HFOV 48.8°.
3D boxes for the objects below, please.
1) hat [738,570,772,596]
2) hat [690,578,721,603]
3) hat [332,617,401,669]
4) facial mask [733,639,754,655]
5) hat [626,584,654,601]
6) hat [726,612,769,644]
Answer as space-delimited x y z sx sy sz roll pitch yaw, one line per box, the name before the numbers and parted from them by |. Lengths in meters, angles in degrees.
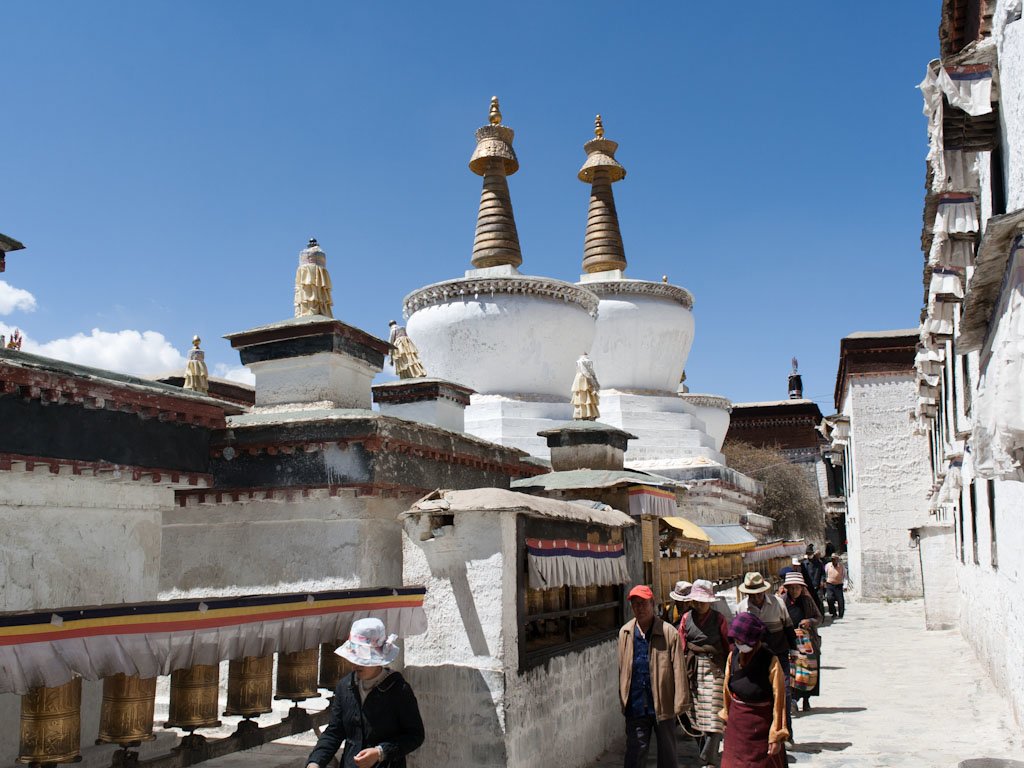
hat | 2.338 1.926 10.878 0.286 0.115 0.326 -9 -5 9
hat | 1.890 2.064 11.246 0.288 0.157 0.294 1 -15 0
hat | -1.090 2.005 8.751 0.516 0.282 0.464 4 -4 -40
facial mask | 1.987 2.277 9.727 0.088 0.111 0.208 2 -7 -31
hat | 1.231 1.982 10.716 0.180 0.130 0.264 -8 -27 10
hat | 2.035 2.116 9.781 0.303 0.270 0.267 -2 -6 10
